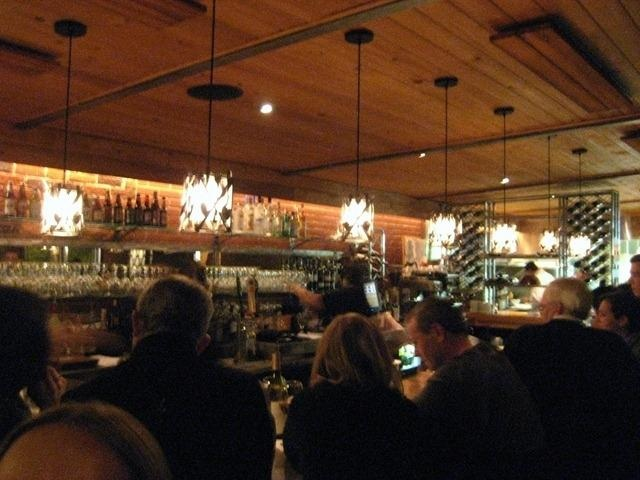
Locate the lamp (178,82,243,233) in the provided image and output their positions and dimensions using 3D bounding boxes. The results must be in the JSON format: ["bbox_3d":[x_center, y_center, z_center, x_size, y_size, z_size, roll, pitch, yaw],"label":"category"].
[{"bbox_3d":[-0.719,-0.544,4.245,0.381,1.016,1.366,2,-3,-12],"label":"lamp"}]

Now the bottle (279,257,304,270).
[{"bbox_3d":[-0.305,0.262,7.329,0.145,0.249,0.266,-3,-3,34],"label":"bottle"}]

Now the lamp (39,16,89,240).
[{"bbox_3d":[-1.665,-0.700,4.163,0.265,1.338,0.237,4,8,-13],"label":"lamp"}]

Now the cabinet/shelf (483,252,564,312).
[{"bbox_3d":[3.290,0.769,10.269,1.199,1.147,0.671,-1,1,25],"label":"cabinet/shelf"}]
